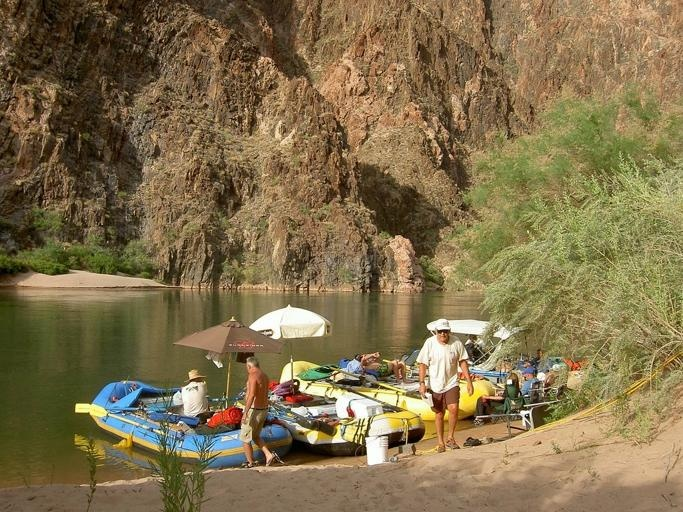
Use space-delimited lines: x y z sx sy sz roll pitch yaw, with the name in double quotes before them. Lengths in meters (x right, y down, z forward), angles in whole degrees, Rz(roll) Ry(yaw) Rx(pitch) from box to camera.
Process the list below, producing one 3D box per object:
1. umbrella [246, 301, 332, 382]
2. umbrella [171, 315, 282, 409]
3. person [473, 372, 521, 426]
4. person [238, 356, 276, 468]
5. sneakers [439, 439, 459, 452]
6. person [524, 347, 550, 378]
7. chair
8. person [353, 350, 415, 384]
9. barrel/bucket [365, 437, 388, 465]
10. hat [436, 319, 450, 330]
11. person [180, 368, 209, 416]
"umbrella" -1.698 2.559 24.129 2.127 2.671 2.163 1 -6 -24
"umbrella" -3.188 3.658 22.122 3.134 3.924 3.506 2 -2 -18
"person" 4.275 3.922 21.369 1.160 1.658 0.764 8 18 33
"person" -2.107 3.932 19.613 0.898 2.801 0.779 0 0 -29
"sneakers" 2.665 4.719 19.154 0.574 0.314 0.240 1 -3 -8
"person" 5.818 3.189 22.908 0.380 0.633 1.023 -13 20 34
"chair" 4.791 4.061 20.909 1.138 1.534 2.036 -3 2 -39
"person" 1.072 3.604 24.988 2.380 1.033 1.367 12 -1 -27
"barrel/bucket" 0.876 4.862 19.350 0.560 0.713 0.609 -1 -8 0
"hat" 2.480 1.678 18.927 0.360 0.242 0.625 0 0 3
"person" -3.992 3.679 20.901 0.717 1.170 0.829 0 0 -12
